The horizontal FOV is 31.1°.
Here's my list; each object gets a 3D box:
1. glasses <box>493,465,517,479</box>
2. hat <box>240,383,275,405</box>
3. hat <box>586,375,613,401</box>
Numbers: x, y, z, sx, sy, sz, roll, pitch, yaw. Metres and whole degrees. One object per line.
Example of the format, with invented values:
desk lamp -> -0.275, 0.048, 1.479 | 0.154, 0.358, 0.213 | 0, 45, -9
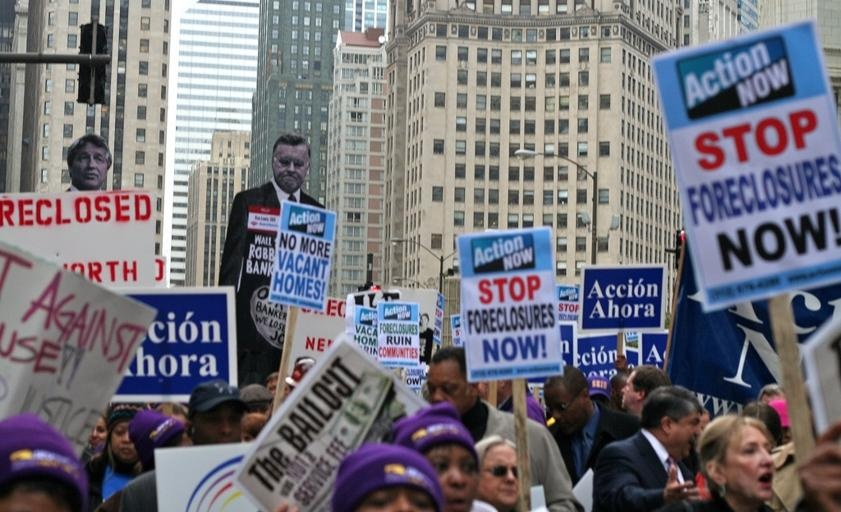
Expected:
glasses -> 0.847, 2.214, 15.271 | 0.157, 0.054, 0.169 | 2, -20, -9
hat -> -2.031, 1.761, 18.898 | 0.391, 0.171, 0.465 | 1, 10, -17
hat -> 2.589, 1.922, 21.473 | 0.294, 0.258, 0.477 | 2, -16, 5
